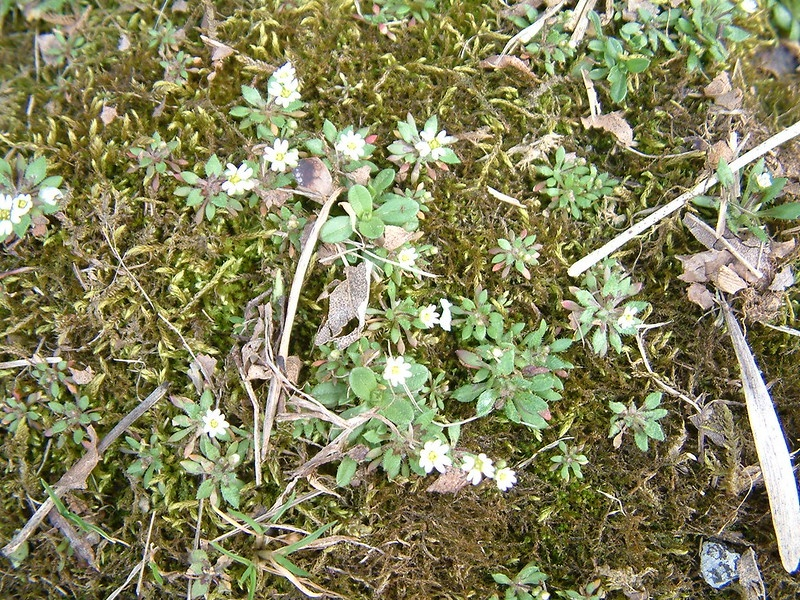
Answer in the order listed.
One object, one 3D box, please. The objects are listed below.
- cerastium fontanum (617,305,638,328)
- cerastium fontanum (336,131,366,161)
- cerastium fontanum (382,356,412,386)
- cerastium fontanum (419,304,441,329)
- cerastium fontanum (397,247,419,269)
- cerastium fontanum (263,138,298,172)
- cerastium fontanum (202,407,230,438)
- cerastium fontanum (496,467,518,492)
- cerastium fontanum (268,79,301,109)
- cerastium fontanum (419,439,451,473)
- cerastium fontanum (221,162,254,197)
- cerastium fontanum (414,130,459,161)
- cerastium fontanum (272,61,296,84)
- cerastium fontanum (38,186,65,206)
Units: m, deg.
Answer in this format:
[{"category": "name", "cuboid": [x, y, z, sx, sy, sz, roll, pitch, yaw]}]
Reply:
[{"category": "cerastium fontanum", "cuboid": [1.398, 0.110, 4.162, 0.103, 0.104, 0.111, 18, 51, 3]}, {"category": "cerastium fontanum", "cuboid": [-0.300, -0.943, 4.082, 0.185, 0.127, 0.164, 6, 52, -6]}, {"category": "cerastium fontanum", "cuboid": [-0.019, 0.425, 4.001, 0.163, 0.142, 0.159, -4, 53, -14]}, {"category": "cerastium fontanum", "cuboid": [0.177, 0.100, 4.071, 0.125, 0.059, 0.127, -40, 98, -21]}, {"category": "cerastium fontanum", "cuboid": [0.049, -0.237, 4.070, 0.135, 0.117, 0.138, -2, 53, -13]}, {"category": "cerastium fontanum", "cuboid": [-0.723, -0.875, 4.099, 0.211, 0.162, 0.225, 2, 52, -10]}, {"category": "cerastium fontanum", "cuboid": [-1.101, 0.740, 4.039, 0.161, 0.160, 0.139, -1, 52, -12]}, {"category": "cerastium fontanum", "cuboid": [0.637, 1.078, 4.118, 0.129, 0.045, 0.145, 19, 86, 0]}, {"category": "cerastium fontanum", "cuboid": [-0.704, -1.266, 4.123, 0.194, 0.136, 0.177, -5, 54, -15]}, {"category": "cerastium fontanum", "cuboid": [0.208, 0.939, 3.979, 0.206, 0.186, 0.168, 6, 51, -6]}, {"category": "cerastium fontanum", "cuboid": [-0.985, -0.720, 4.094, 0.202, 0.196, 0.143, -4, 53, -14]}, {"category": "cerastium fontanum", "cuboid": [0.213, -0.957, 4.148, 0.255, 0.189, 0.217, 10, 51, -4]}, {"category": "cerastium fontanum", "cuboid": [-0.695, -1.380, 4.119, 0.137, 0.051, 0.148, 2, 90, 3]}, {"category": "cerastium fontanum", "cuboid": [-2.129, -0.635, 4.159, 0.119, 0.115, 0.088, -18, 19, 5]}]
